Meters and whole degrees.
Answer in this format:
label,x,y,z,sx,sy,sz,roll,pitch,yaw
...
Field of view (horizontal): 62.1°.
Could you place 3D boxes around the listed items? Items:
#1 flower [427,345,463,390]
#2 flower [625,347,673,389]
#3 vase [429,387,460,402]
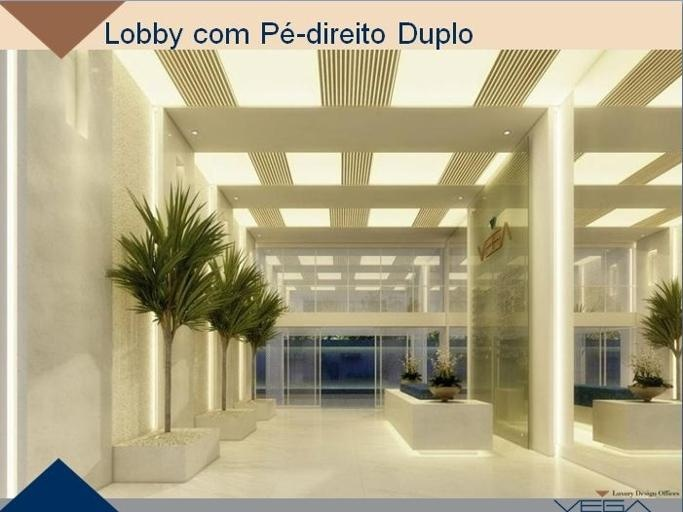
label,x,y,z,sx,sy,sz,roll,pitch,yaw
flower,1.763,2.002,9.640,0.421,0.624,0.635,-1,-11,18
flower,3.717,1.363,6.923,0.387,0.509,0.409,-11,-20,25
vase,1.760,2.316,9.611,0.485,0.268,0.712,-2,-9,12
